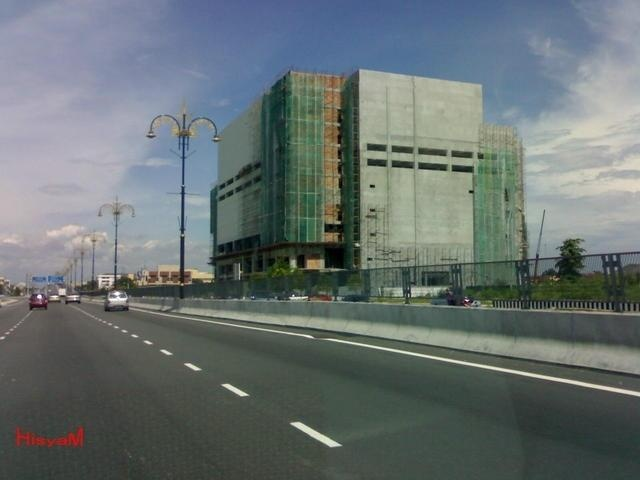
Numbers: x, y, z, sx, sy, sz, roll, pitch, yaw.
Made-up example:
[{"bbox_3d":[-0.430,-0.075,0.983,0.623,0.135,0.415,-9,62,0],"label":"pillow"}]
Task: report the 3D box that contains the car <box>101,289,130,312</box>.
[{"bbox_3d":[-16.740,5.015,55.229,1.755,1.700,2.810,-2,0,-23],"label":"car"}]
